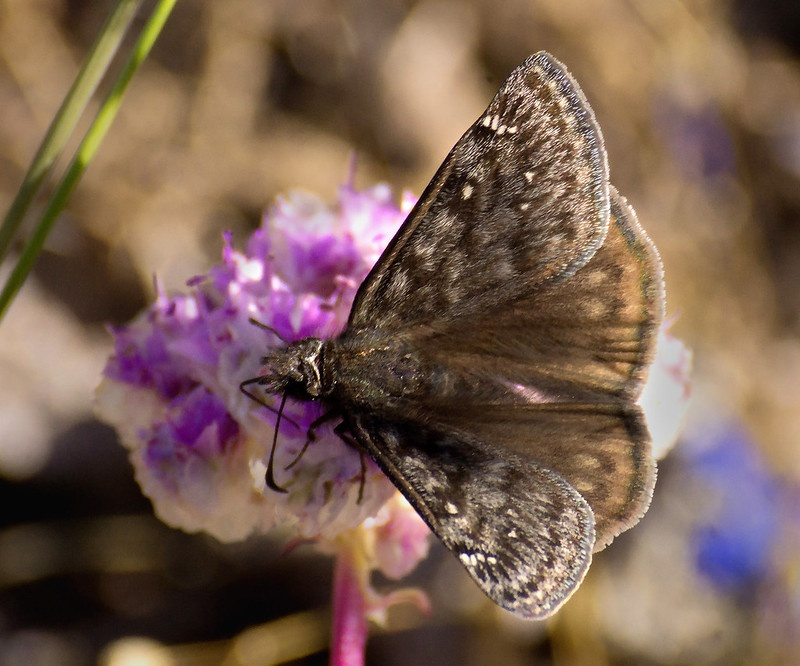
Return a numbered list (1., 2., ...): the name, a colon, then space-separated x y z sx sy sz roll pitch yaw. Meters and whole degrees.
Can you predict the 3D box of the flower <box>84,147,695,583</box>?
1. flower: -0.197 0.078 1.573 0.457 0.217 0.611 -3 84 -1
